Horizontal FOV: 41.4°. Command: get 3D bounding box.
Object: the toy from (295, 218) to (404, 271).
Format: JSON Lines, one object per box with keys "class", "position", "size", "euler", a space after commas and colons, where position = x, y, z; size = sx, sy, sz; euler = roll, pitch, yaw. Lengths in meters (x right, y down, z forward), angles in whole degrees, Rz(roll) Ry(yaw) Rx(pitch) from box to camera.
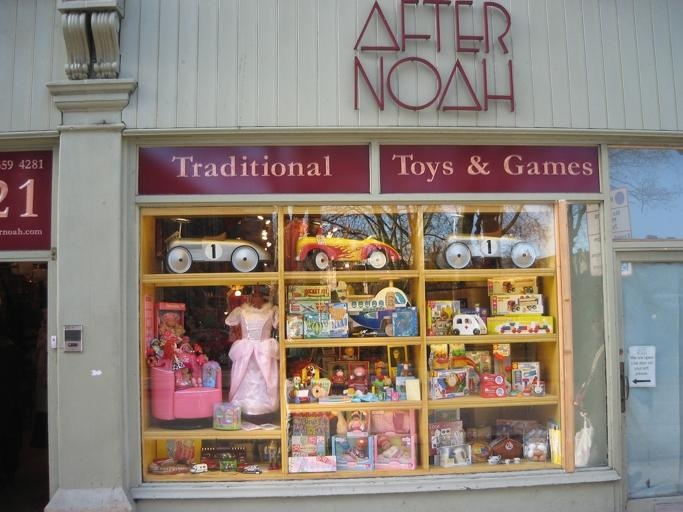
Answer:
{"class": "toy", "position": [0.020, -0.163, 9.219], "size": [0.815, 0.364, 0.535], "euler": [3, -5, -5]}
